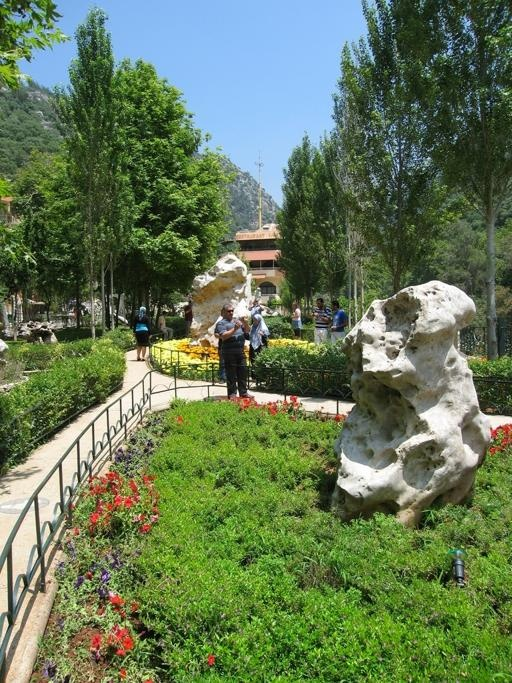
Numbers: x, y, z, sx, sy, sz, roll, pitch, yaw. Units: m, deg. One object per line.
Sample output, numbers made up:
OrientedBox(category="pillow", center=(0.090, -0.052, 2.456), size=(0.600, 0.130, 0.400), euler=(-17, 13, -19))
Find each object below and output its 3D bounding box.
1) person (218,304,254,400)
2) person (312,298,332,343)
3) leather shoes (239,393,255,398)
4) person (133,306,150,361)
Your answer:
OrientedBox(category="person", center=(-0.322, 0.172, 9.280), size=(0.565, 1.569, 0.548), euler=(-13, 11, -42))
OrientedBox(category="person", center=(1.629, -0.538, 13.533), size=(0.401, 1.128, 1.229), euler=(-1, 4, 6))
OrientedBox(category="leather shoes", center=(-0.163, 0.922, 9.450), size=(0.216, 0.094, 0.114), euler=(0, -2, 10))
OrientedBox(category="person", center=(-3.155, -0.201, 15.308), size=(0.399, 1.527, 2.065), euler=(-2, 4, -12))
